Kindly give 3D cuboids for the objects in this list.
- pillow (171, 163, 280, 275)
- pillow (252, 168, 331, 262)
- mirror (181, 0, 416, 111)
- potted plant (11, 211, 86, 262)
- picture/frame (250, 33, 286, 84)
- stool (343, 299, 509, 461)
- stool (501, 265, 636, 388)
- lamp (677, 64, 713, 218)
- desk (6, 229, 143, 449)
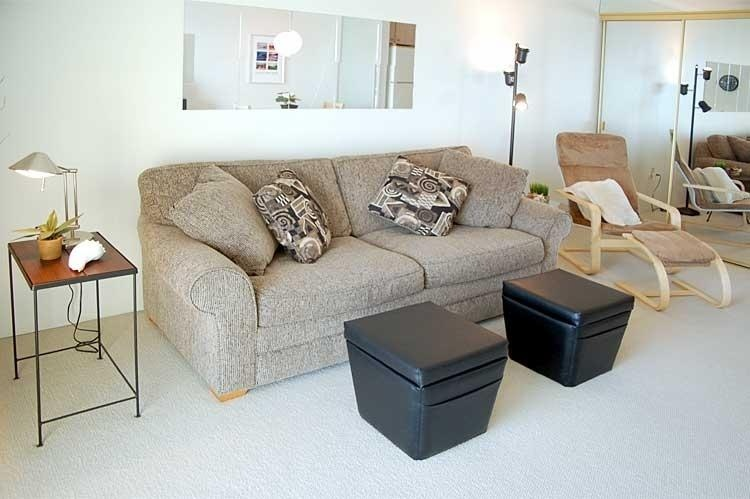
[{"bbox_3d":[-0.872,-0.160,3.044,0.494,0.509,0.495,-1,18,0],"label":"pillow"},{"bbox_3d":[-0.512,-0.206,3.156,0.184,0.526,0.528,-31,-16,19],"label":"pillow"},{"bbox_3d":[-0.541,-1.449,3.897,1.879,0.730,0.197,-10,21,-27],"label":"mirror"},{"bbox_3d":[-1.663,-0.062,2.587,0.306,0.193,0.306,-7,-8,24],"label":"potted plant"},{"bbox_3d":[-0.794,-1.411,3.713,0.349,0.397,0.026,-8,19,-42],"label":"picture/frame"},{"bbox_3d":[0.198,0.574,2.642,0.628,0.557,0.734,-7,18,-30],"label":"stool"},{"bbox_3d":[1.174,0.466,3.178,0.702,0.452,0.716,14,19,37],"label":"stool"},{"bbox_3d":[3.487,-1.344,5.553,0.357,1.431,0.264,14,55,37],"label":"lamp"},{"bbox_3d":[-1.709,0.523,2.836,0.548,0.792,0.813,-5,28,-30],"label":"desk"}]
